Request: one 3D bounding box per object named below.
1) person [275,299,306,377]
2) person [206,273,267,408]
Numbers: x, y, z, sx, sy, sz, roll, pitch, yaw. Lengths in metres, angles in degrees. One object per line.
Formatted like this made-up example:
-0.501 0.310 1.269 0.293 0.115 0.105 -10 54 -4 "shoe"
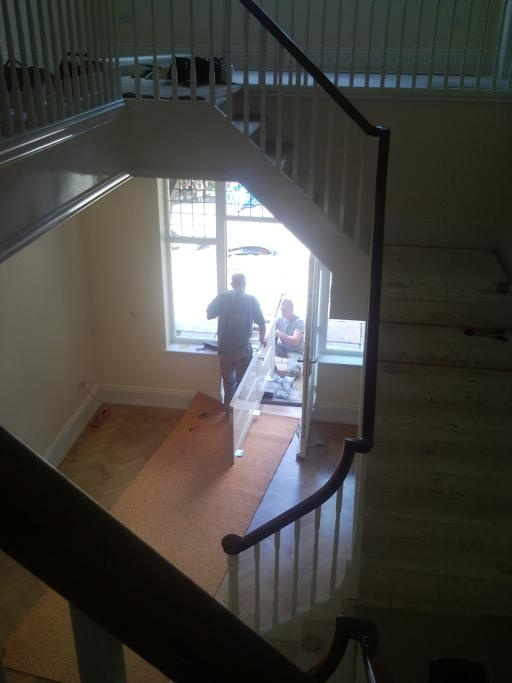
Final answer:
0.433 -0.045 7.091 0.342 1.024 0.500 -1 18 22 "person"
-0.237 0.025 5.927 0.557 1.536 0.479 8 8 38 "person"
